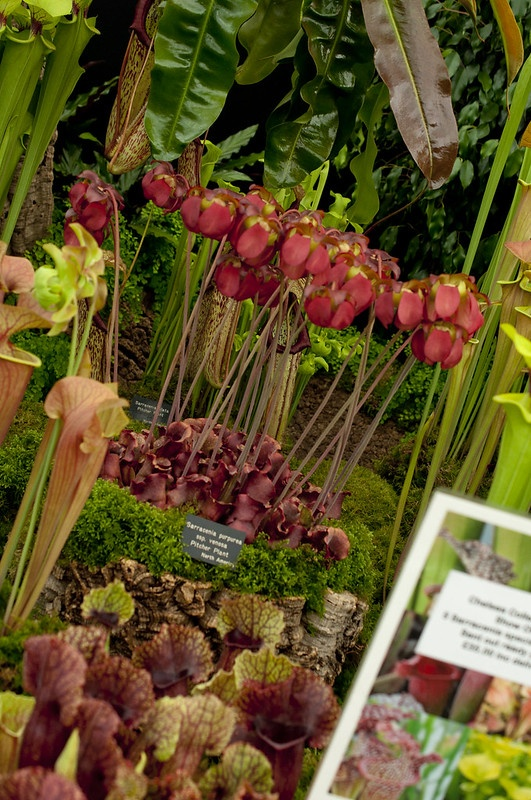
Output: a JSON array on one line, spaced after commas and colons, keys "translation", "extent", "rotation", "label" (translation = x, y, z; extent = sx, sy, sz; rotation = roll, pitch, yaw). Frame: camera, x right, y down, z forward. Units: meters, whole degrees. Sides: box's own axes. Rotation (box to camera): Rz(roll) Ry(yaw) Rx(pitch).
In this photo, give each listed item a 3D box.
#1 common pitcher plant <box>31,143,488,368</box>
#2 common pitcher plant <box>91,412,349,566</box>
[{"translation": [0.007, -0.298, 1.341], "extent": [0.887, 0.403, 0.409], "rotation": [27, 4, 19], "label": "common pitcher plant"}, {"translation": [-0.065, 0.241, 1.559], "extent": [0.637, 0.267, 0.295], "rotation": [25, 7, -6], "label": "common pitcher plant"}]
